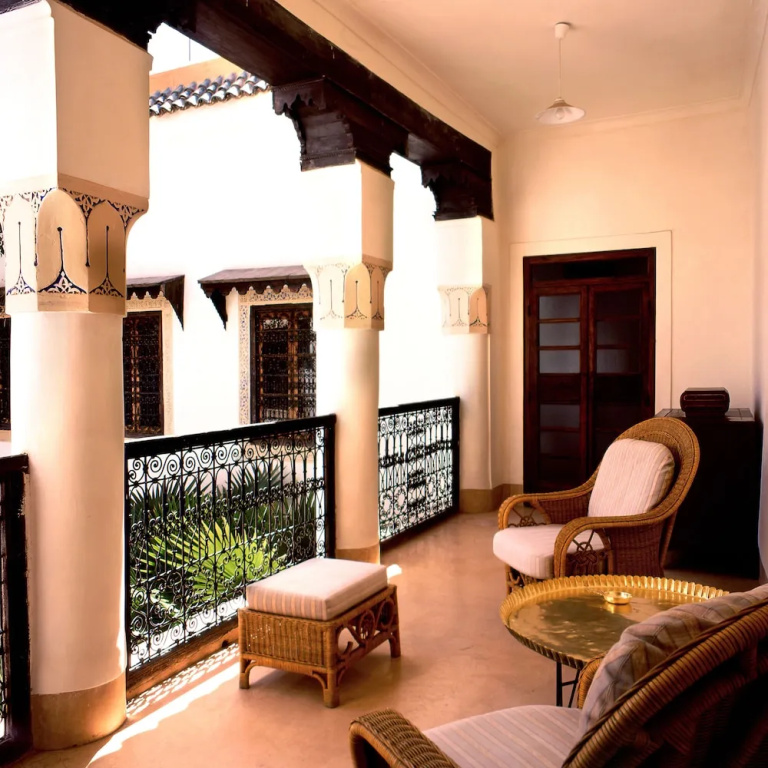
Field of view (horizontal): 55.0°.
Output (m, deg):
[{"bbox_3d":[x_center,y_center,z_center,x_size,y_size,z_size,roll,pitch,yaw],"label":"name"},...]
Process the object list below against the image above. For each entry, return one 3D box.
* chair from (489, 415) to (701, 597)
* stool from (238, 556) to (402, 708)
[{"bbox_3d":[1.101,0.628,4.086,0.953,1.325,0.979,1,-3,-12],"label":"chair"},{"bbox_3d":[-0.290,1.114,3.494,0.495,0.471,0.706,-2,0,27],"label":"stool"}]
